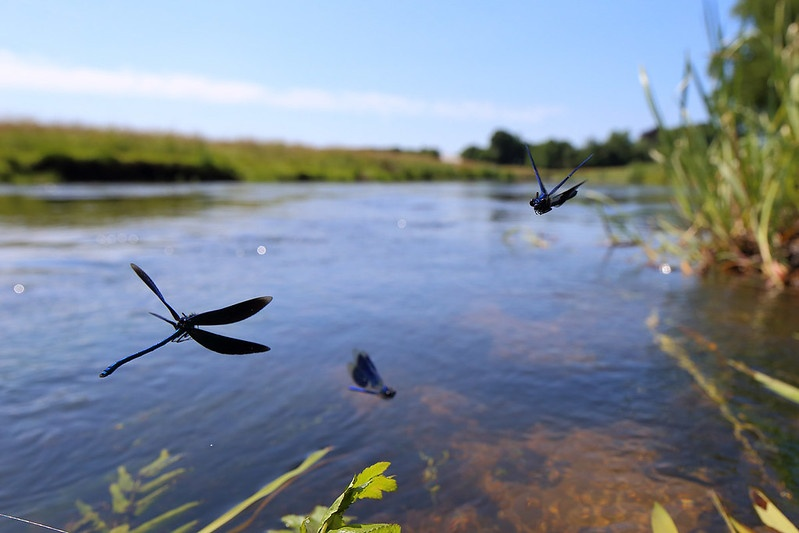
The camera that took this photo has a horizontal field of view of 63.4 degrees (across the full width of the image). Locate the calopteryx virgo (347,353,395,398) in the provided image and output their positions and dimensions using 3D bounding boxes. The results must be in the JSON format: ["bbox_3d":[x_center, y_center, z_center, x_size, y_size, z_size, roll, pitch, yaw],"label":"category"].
[{"bbox_3d":[-0.331,1.125,6.596,0.426,0.470,0.189,37,2,28],"label":"calopteryx virgo"}]
